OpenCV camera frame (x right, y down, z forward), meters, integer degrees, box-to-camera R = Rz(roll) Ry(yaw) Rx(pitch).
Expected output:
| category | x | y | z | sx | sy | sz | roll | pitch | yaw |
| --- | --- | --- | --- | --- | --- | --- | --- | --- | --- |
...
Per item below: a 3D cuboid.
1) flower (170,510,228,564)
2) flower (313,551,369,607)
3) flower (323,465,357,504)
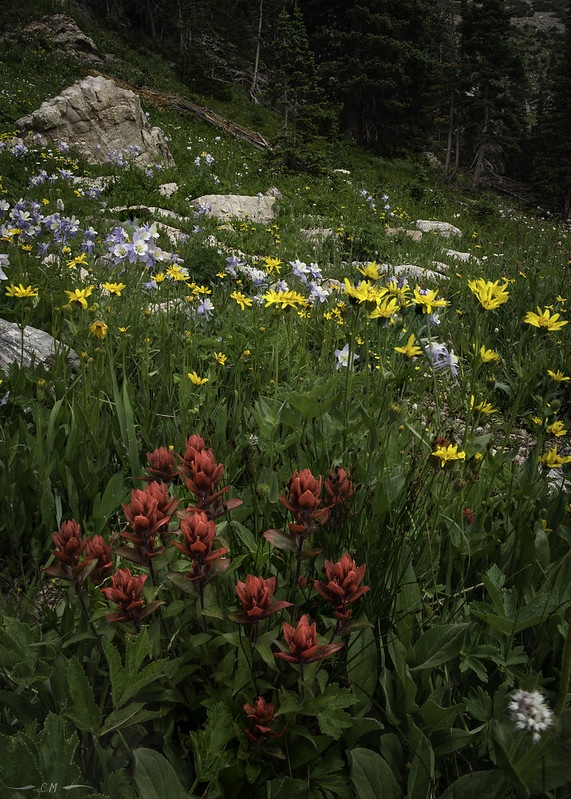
| category | x | y | z | sx | sy | sz | roll | pitch | yaw |
| --- | --- | --- | --- | --- | --- | --- | --- | --- | --- |
| flower | -0.143 | 0.226 | 0.950 | 0.068 | 0.098 | 0.088 | -16 | 38 | -31 |
| flower | 0.090 | 0.293 | 0.950 | 0.083 | 0.097 | 0.100 | 6 | 23 | 3 |
| flower | 0.129 | 0.203 | 1.329 | 0.065 | 0.081 | 0.063 | -24 | 43 | -34 |
